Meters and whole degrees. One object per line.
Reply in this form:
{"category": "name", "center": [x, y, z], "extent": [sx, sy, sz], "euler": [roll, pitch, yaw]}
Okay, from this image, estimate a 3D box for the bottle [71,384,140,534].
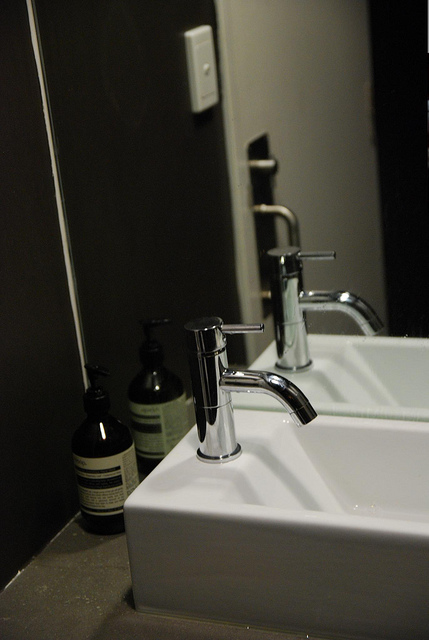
{"category": "bottle", "center": [-0.141, 0.161, 0.749], "extent": [0.076, 0.213, 0.081], "euler": [-1, 30, 1]}
